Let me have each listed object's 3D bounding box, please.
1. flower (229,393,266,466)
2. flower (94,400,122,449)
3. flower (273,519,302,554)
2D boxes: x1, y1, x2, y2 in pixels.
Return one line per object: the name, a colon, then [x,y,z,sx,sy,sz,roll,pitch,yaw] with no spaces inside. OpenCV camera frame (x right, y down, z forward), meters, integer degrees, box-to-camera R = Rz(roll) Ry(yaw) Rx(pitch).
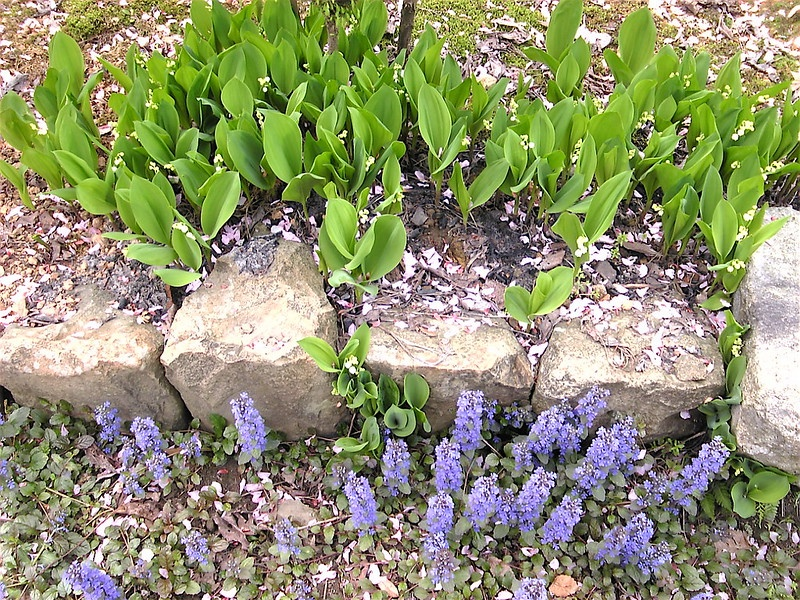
flower: [-0.846,0.711,3.610,0.228,0.461,0.290,-7,48,-10]
flower: [-1.689,0.714,3.740,0.163,0.342,0.190,16,81,-15]
flower: [-0.586,1.253,3.436,0.102,0.191,0.184,-14,27,0]
